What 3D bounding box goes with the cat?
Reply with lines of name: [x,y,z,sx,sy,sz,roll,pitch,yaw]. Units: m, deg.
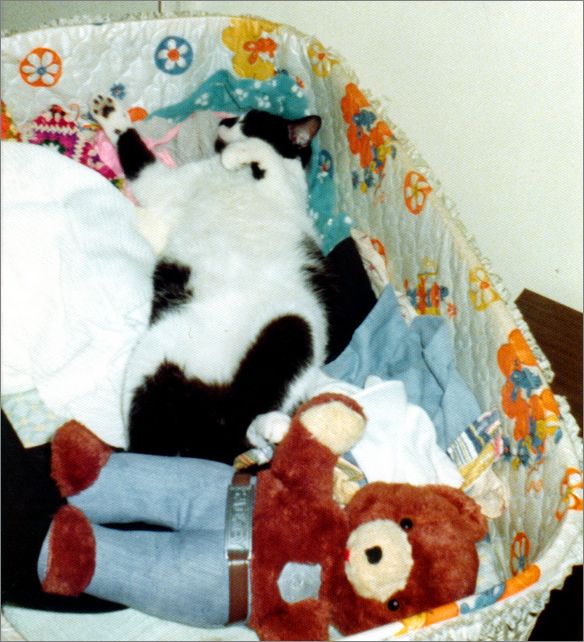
cat: [-0.136,-0.073,1.985,0.588,0.235,0.714,6,67,-5]
